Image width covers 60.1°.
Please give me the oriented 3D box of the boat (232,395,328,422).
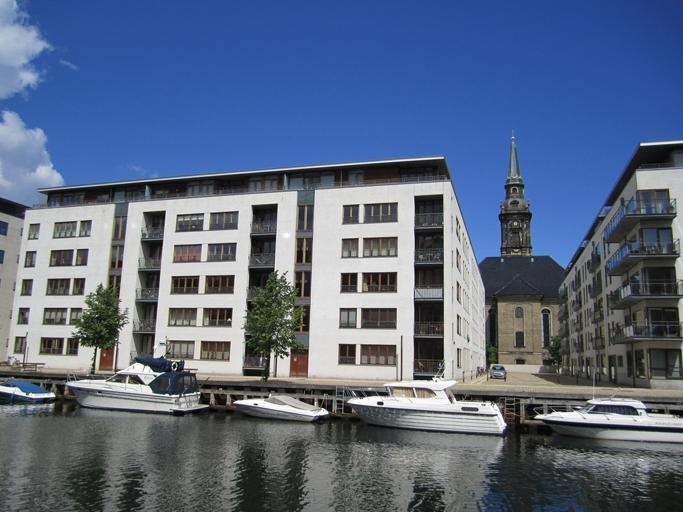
[{"bbox_3d":[-4.623,11.402,44.175,7.777,1.734,2.298,1,-19,16],"label":"boat"}]
